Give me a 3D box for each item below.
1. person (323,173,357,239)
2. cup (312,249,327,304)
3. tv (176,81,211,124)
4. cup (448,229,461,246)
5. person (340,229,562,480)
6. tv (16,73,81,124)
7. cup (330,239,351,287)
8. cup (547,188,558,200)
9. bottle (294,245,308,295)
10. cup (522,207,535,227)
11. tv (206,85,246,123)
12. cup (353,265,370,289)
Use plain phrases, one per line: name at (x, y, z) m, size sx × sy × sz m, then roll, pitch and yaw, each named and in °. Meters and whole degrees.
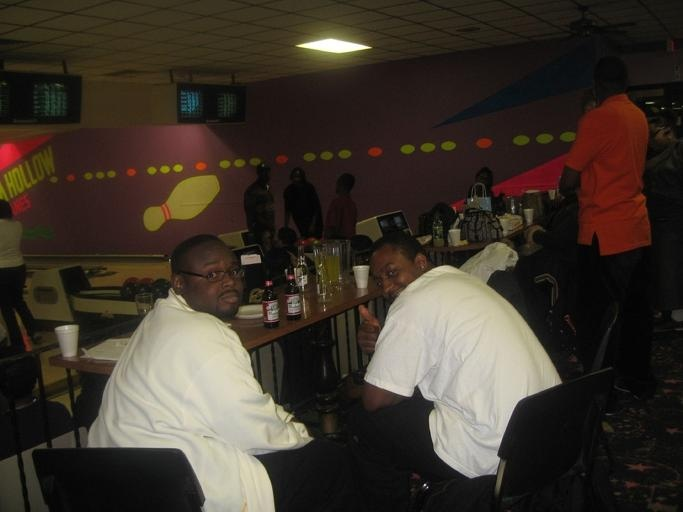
person at (-0.032, -0.712, 7.206) m, size 0.477 × 0.876 × 0.701 m, roll -5°, pitch 12°, yaw -1°
cup at (-0.143, 0.136, 3.426) m, size 0.104 × 0.394 × 0.089 m, roll -5°, pitch 25°, yaw -4°
tv at (-2.375, -2.413, 7.958) m, size 0.141 × 0.587 × 0.530 m, roll 4°, pitch 15°, yaw 36°
cup at (1.120, -0.181, 5.022) m, size 0.146 × 0.168 × 0.154 m, roll 2°, pitch 10°, yaw 0°
person at (0.447, 0.386, 2.108) m, size 0.717 × 0.909 × 0.865 m, roll -7°, pitch 10°, yaw -36°
tv at (-3.747, -2.017, 6.444) m, size 0.114 × 0.607 × 0.887 m, roll 2°, pitch 13°, yaw 28°
cup at (-0.016, 0.037, 3.771) m, size 0.168 × 0.287 × 0.172 m, roll -2°, pitch 5°, yaw 0°
cup at (2.875, -0.836, 6.835) m, size 0.180 × 0.192 × 0.174 m, roll -2°, pitch 3°, yaw 0°
bottle at (-0.286, 0.093, 3.500) m, size 0.098 × 0.333 × 0.098 m, roll -1°, pitch 12°, yaw 0°
cup at (2.198, -0.462, 6.066) m, size 0.213 × 0.237 × 0.217 m, roll -1°, pitch -4°, yaw 0°
tv at (-1.912, -2.567, 8.458) m, size 0.639 × 0.684 × 0.153 m, roll -4°, pitch 44°, yaw -21°
cup at (0.128, 0.133, 3.385) m, size 0.139 × 0.139 × 0.140 m, roll -2°, pitch 8°, yaw 0°
